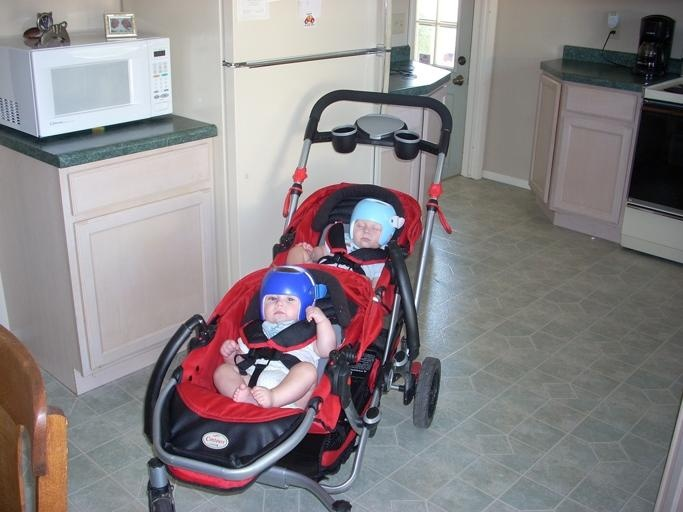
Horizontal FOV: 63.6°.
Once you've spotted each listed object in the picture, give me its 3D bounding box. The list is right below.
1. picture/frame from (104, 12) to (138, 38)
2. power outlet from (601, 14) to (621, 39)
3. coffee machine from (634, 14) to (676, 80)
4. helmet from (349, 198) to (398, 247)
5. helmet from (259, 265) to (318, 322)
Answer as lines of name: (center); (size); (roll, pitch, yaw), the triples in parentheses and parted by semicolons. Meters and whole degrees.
picture/frame: (-1.113, -1.164, 2.778); (0.167, 0.157, 0.089); (-16, 32, -31)
power outlet: (2.206, -1.884, 4.497); (0.110, 0.182, 0.103); (10, 26, 24)
coffee machine: (2.396, -1.578, 4.157); (0.268, 0.444, 0.316); (4, 24, 11)
helmet: (0.185, -0.179, 2.739); (0.185, 0.248, 0.223); (10, 6, 11)
helmet: (-0.218, 0.147, 2.248); (0.183, 0.179, 0.232); (0, -9, 12)
